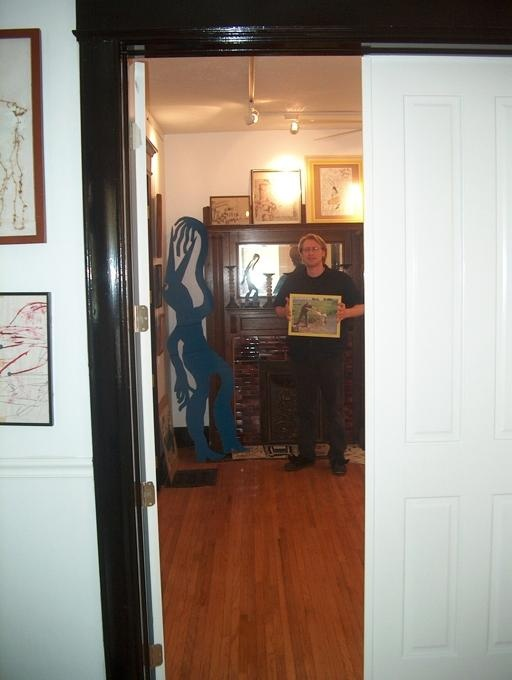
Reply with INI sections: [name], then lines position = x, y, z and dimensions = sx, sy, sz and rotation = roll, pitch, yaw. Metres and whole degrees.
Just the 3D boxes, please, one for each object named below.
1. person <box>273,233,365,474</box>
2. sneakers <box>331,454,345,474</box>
[person]
position = 0.416, 0.072, 3.907
dimensions = 0.600, 1.578, 0.364
rotation = 0, 5, 13
[sneakers]
position = 0.546, 0.818, 3.822
dimensions = 0.109, 0.101, 0.138
rotation = -1, 7, 4
